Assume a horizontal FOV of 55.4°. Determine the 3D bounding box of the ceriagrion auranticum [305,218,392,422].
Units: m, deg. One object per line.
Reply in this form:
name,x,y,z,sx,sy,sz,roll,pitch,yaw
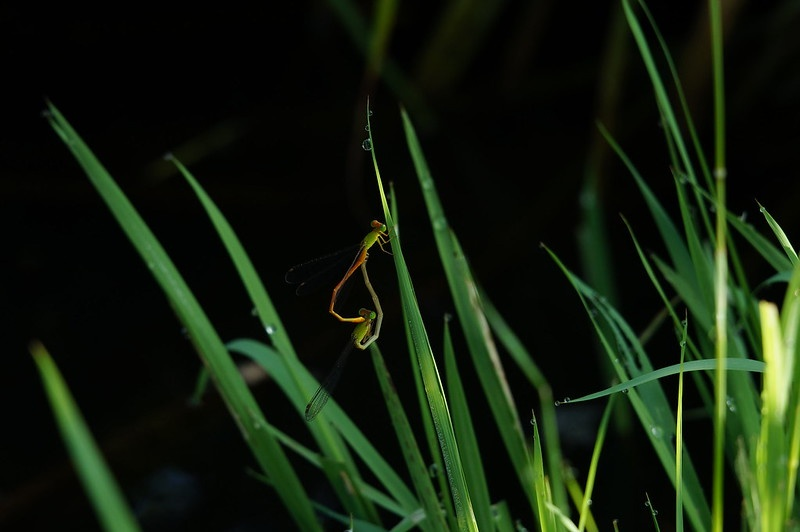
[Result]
ceriagrion auranticum,-0.058,0.063,0.866,0.074,0.227,0.042,6,-11,4
